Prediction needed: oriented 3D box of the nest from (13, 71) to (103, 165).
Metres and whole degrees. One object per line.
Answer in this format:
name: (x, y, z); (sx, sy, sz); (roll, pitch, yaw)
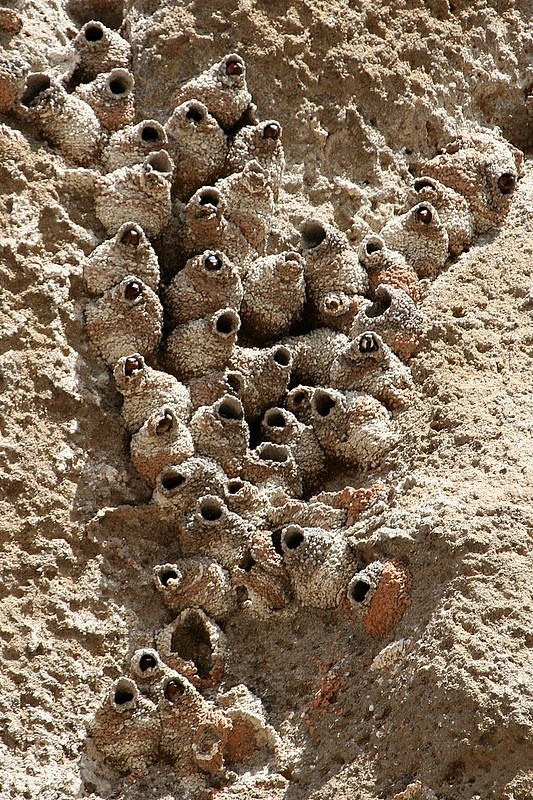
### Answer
nest: (-0.951, -1.315, 11.058); (0.463, 0.209, 0.292); (45, 81, -20)

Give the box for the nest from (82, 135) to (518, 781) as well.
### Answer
nest: (-0.036, 0.124, 10.718); (1.526, 0.761, 2.300); (5, 67, -3)
